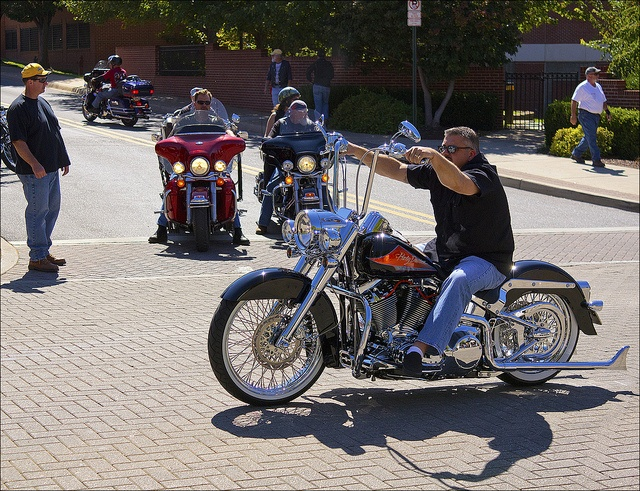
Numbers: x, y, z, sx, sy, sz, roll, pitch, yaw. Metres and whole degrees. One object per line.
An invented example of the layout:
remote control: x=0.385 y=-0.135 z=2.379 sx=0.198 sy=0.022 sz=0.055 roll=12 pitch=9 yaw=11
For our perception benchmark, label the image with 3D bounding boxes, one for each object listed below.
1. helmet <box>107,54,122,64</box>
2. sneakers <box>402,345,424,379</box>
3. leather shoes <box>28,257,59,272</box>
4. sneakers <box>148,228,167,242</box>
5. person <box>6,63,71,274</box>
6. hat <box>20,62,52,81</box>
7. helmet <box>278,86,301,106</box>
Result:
helmet: x=-6.846 y=-6.226 z=25.998 sx=0.328 sy=0.285 sz=0.598 roll=-5 pitch=15 yaw=-24
sneakers: x=0.702 y=0.883 z=5.899 sx=0.147 sy=0.255 sz=0.122 roll=4 pitch=14 yaw=10
leather shoes: x=-3.425 y=0.232 z=9.741 sx=0.401 sy=0.177 sz=0.144 roll=0 pitch=4 yaw=-1
sneakers: x=-2.409 y=-0.153 z=11.448 sx=0.356 sy=0.246 sz=0.125 roll=4 pitch=4 yaw=2
person: x=-3.515 y=-0.986 z=9.720 sx=0.654 sy=2.498 sz=0.931 roll=-1 pitch=15 yaw=-11
hat: x=-3.598 y=-2.207 z=9.764 sx=0.444 sy=0.222 sz=0.320 roll=-4 pitch=15 yaw=-23
helmet: x=-0.531 y=-2.517 z=13.060 sx=0.341 sy=0.273 sz=0.260 roll=-34 pitch=14 yaw=14
